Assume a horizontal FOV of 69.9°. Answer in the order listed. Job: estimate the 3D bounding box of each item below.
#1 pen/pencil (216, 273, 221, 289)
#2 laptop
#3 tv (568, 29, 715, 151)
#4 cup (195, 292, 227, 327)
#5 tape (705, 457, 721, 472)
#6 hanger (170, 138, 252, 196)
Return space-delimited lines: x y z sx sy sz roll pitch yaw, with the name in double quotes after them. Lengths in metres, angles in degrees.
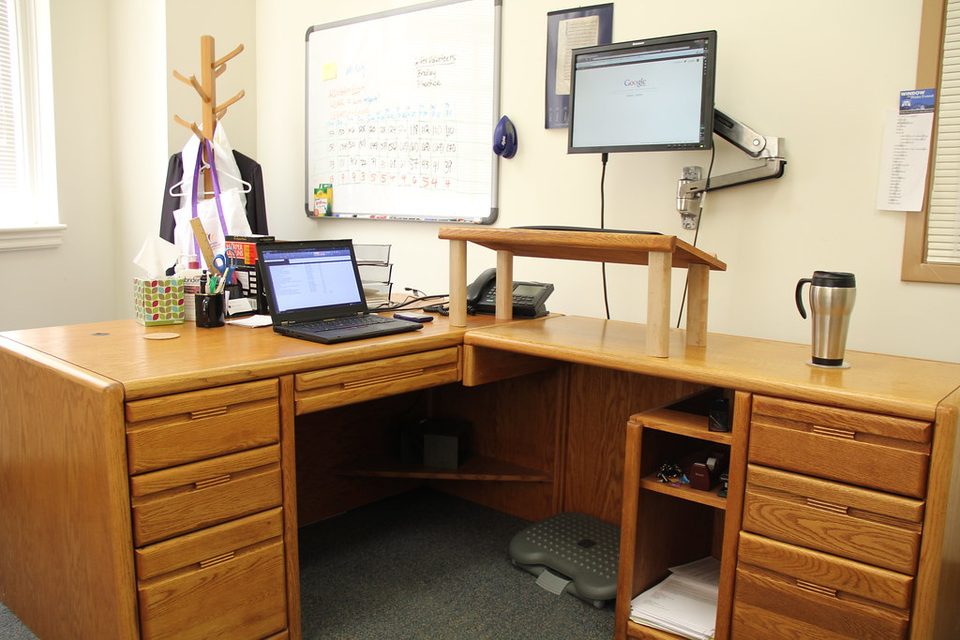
-1.050 -0.165 2.784 0.009 0.039 0.006 18 -17 8 "pen/pencil"
-0.564 -0.183 2.727 0.480 0.359 0.529 11 14 38 "laptop"
0.712 -0.984 2.972 0.604 0.410 0.062 5 13 28 "tv"
-1.067 -0.038 2.731 0.098 0.125 0.143 1 3 2 "cup"
0.838 0.515 2.481 0.043 0.041 0.042 9 27 42 "tape"
-1.557 -0.881 4.146 0.337 0.430 0.131 2 18 3 "hanger"
